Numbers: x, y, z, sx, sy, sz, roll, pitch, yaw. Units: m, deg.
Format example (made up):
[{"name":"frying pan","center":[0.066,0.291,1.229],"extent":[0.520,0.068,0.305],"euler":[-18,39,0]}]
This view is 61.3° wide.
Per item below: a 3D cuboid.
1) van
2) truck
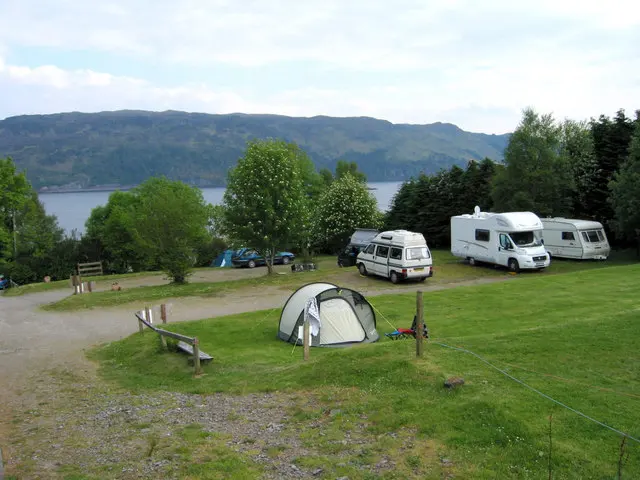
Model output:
[{"name":"van","center":[4.266,0.874,32.004],"extent":[2.567,2.625,4.936],"euler":[-4,8,-26]},{"name":"truck","center":[11.100,-0.089,33.242],"extent":[2.788,3.369,6.503],"euler":[-4,8,-26]}]
